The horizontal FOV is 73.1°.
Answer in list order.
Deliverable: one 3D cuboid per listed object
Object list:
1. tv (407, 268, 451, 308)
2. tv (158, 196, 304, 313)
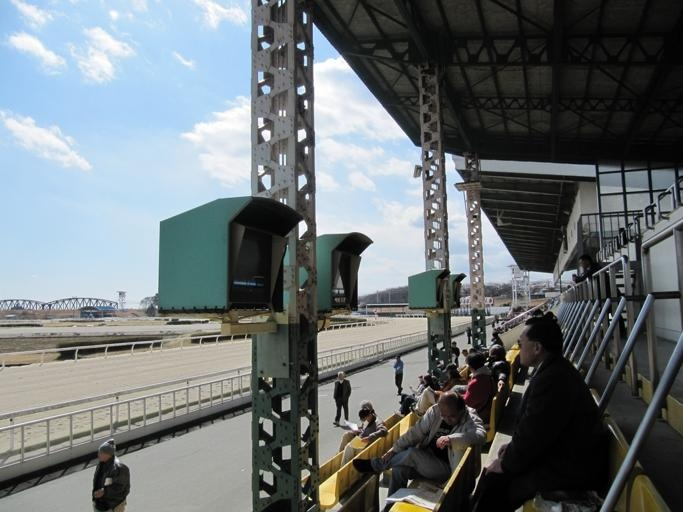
[{"bbox_3d":[3.186,1.283,16.987,1.536,1.209,0.798,-4,-2,-5],"label":"tv"},{"bbox_3d":[-1.906,0.066,7.915,2.025,1.842,2.193,1,-5,-1],"label":"tv"}]
